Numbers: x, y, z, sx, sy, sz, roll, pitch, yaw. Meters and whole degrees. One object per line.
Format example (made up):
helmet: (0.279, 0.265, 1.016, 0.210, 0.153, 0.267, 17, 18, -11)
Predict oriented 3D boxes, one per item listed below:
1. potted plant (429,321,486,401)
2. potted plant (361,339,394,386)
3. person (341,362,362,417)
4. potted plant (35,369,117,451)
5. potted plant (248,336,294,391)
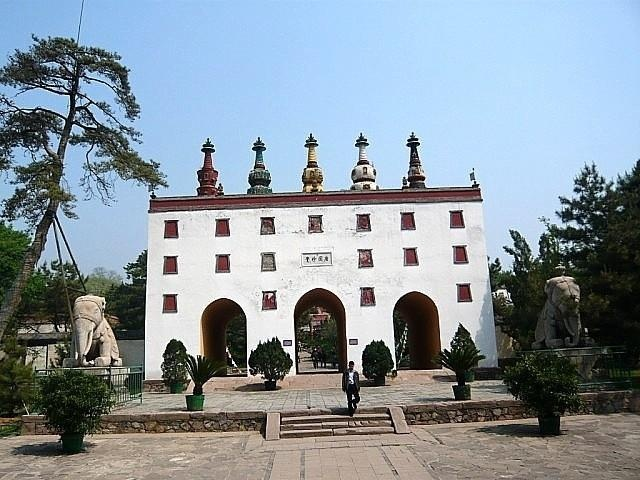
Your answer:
potted plant: (5.631, 4.821, 22.676, 2.309, 3.390, 2.365, 4, -9, -8)
potted plant: (2.456, 5.152, 23.791, 1.471, 2.033, 1.526, 0, -11, -5)
person: (0.915, 4.226, 16.283, 0.449, 1.359, 1.042, -2, 3, 2)
potted plant: (-6.295, 4.437, 14.615, 1.541, 2.046, 1.746, -20, -18, 23)
potted plant: (-2.010, 5.308, 24.235, 1.793, 2.214, 2.029, 2, -22, -9)
